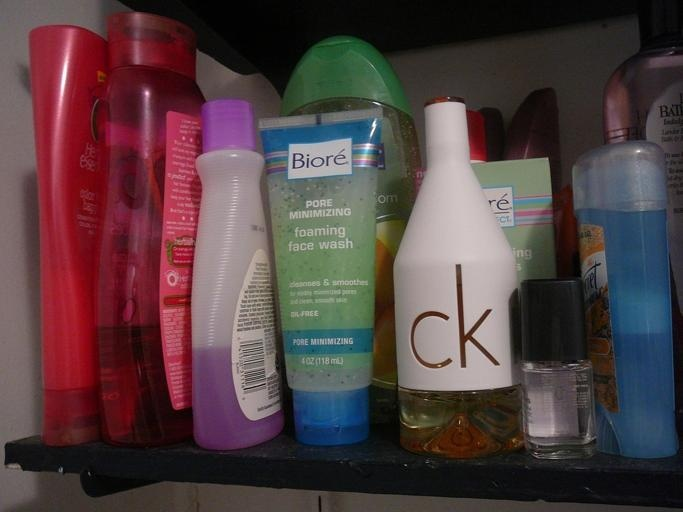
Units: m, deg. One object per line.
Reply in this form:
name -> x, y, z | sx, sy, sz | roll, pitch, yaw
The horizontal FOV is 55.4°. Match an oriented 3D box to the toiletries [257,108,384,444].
toiletries -> -0.014, 0.017, 0.567 | 0.107, 0.241, 0.041 | -2, -1, -4

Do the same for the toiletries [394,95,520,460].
toiletries -> 0.092, 0.014, 0.527 | 0.093, 0.265, 0.035 | -2, -1, 13

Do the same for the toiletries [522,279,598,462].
toiletries -> 0.169, 0.088, 0.513 | 0.053, 0.138, 0.019 | -2, -1, 18
